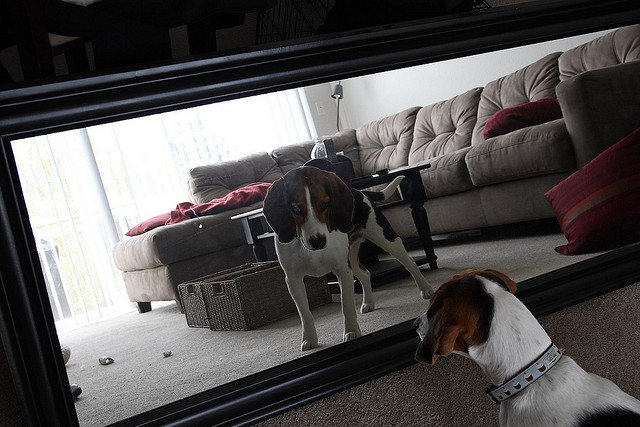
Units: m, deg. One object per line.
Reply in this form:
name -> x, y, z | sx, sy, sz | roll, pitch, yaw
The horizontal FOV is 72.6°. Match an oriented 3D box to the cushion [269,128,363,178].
cushion -> 0.003, -0.156, 1.283 | 0.273, 0.098, 0.048 | -16, 8, -13

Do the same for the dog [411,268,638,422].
dog -> 0.438, 0.249, 1.076 | 0.506, 0.362, 0.258 | 8, 43, 43

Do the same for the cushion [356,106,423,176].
cushion -> 0.202, -0.218, 1.354 | 0.215, 0.202, 0.082 | -15, 8, -25

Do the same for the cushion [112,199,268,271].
cushion -> -0.349, 0.067, 1.204 | 0.412, 0.147, 0.034 | -16, 8, -13

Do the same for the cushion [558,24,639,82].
cushion -> 0.953, -0.547, 1.490 | 0.230, 0.235, 0.092 | -12, 13, 6

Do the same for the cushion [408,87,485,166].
cushion -> 0.428, -0.235, 1.435 | 0.256, 0.249, 0.084 | -8, -17, 25

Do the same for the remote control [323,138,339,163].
remote control -> 0.033, -0.185, 1.291 | 0.016, 0.063, 0.049 | -5, -7, -10

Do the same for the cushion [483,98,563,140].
cushion -> 0.665, -0.310, 1.447 | 0.321, 0.102, 0.076 | -18, 0, -26

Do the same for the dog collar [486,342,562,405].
dog collar -> 0.450, 0.358, 0.982 | 0.140, 0.037, 0.132 | -43, 5, 18
